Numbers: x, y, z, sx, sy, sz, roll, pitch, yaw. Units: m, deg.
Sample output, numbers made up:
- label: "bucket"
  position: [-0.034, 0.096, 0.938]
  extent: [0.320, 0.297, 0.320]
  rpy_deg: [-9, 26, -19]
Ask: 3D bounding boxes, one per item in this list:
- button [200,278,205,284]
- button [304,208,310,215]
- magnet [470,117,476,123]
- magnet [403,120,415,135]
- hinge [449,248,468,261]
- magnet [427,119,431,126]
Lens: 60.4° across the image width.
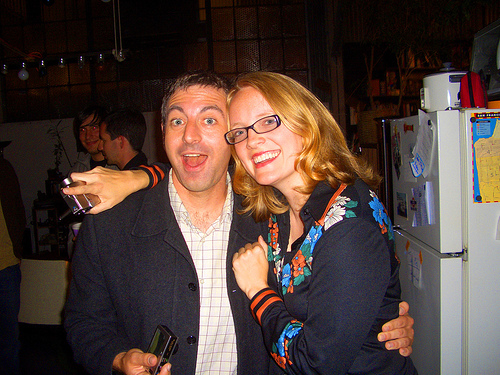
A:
- label: "button"
  position: [-0.277, 0.541, 2.481]
  extent: [0.025, 0.029, 0.011]
  rpy_deg: [-4, 4, 4]
- label: "button"
  position: [0.315, 0.138, 2.419]
  extent: [0.028, 0.030, 0.007]
  rpy_deg: [3, 17, 31]
- label: "magnet"
  position: [1.582, -0.481, 3.048]
  extent: [0.031, 0.036, 0.008]
  rpy_deg: [1, 2, 22]
- label: "magnet"
  position: [1.311, -0.492, 3.553]
  extent: [0.070, 0.113, 0.062]
  rpy_deg: [3, 13, 24]
- label: "hinge"
  position: [1.535, 0.486, 3.124]
  extent: [0.076, 0.023, 0.081]
  rpy_deg: [-4, 12, 4]
- label: "magnet"
  position: [1.338, -0.480, 3.203]
  extent: [0.026, 0.052, 0.028]
  rpy_deg: [3, -3, -31]
